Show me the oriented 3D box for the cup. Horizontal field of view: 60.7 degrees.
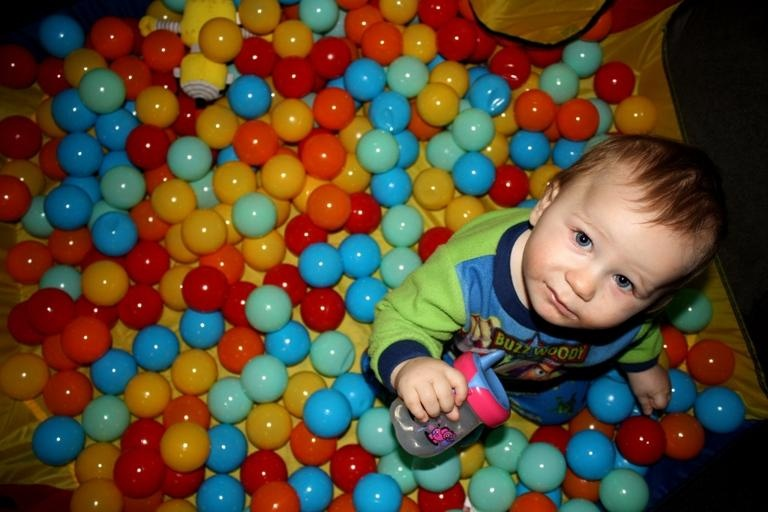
[{"bbox_3d":[0.232,0.491,2.209,0.427,0.182,0.282,-29,87,-9],"label":"cup"}]
